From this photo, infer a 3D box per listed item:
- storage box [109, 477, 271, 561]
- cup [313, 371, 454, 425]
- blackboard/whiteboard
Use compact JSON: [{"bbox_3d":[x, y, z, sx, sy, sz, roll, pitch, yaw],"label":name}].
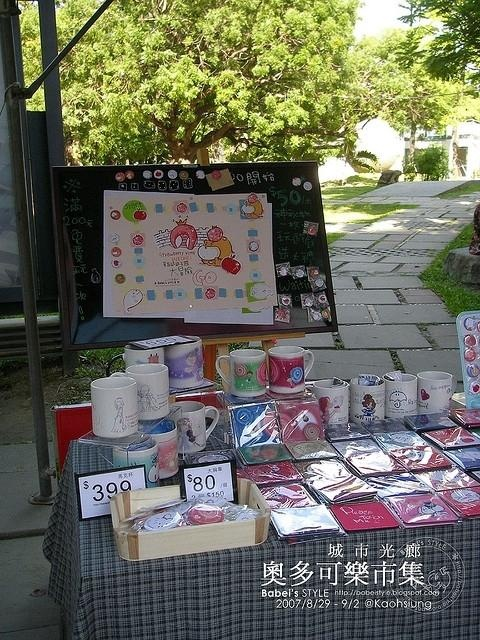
[{"bbox_3d":[-0.106,0.409,1.047,0.320,0.080,0.208,0,12,-13],"label":"storage box"},{"bbox_3d":[0.550,0.265,1.721,0.367,0.174,0.126,1,12,-7],"label":"cup"},{"bbox_3d":[-0.237,-0.323,2.476,1.116,0.631,0.037,-2,1,-4],"label":"blackboard/whiteboard"}]
